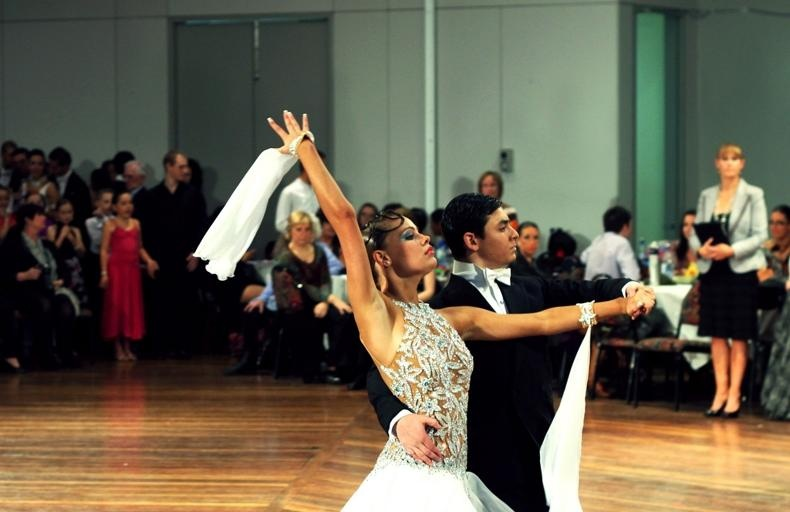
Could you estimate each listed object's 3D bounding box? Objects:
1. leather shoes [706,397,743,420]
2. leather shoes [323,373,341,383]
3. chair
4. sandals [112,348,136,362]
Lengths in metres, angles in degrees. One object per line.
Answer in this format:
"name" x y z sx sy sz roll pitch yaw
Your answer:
"leather shoes" 2.534 1.195 7.860 0.282 0.128 0.106 3 -4 14
"leather shoes" -0.540 1.049 8.633 0.158 0.077 0.058 0 -2 5
"chair" 2.370 0.781 8.461 1.167 1.814 0.901 13 -13 -37
"sandals" -2.100 0.773 7.843 0.209 0.094 0.073 -3 -2 32
